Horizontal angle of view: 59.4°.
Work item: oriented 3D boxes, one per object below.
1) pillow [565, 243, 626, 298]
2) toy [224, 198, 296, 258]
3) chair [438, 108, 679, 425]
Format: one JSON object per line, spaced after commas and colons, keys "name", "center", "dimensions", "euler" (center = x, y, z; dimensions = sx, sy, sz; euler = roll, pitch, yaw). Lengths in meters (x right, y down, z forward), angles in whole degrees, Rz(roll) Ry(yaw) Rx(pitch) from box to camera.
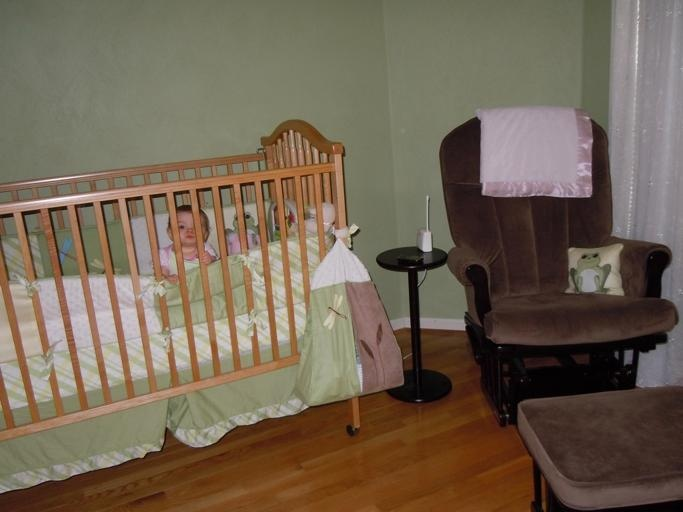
{"name": "pillow", "center": [1.278, 0.081, 3.002], "dimensions": [0.222, 0.216, 0.096], "euler": [-12, -30, 39]}
{"name": "toy", "center": [-0.436, -0.168, 3.279], "dimensions": [0.446, 0.259, 0.290], "euler": [-13, -30, 6]}
{"name": "chair", "center": [1.051, 0.013, 2.993], "dimensions": [1.028, 1.468, 0.770], "euler": [-4, 10, 8]}
